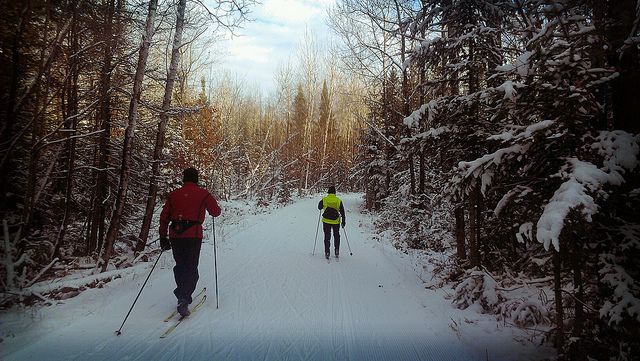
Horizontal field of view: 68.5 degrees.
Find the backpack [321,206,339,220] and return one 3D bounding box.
[{"bbox_3d":[0.458,1.306,18.708,0.678,0.827,0.434,4,-37,3],"label":"backpack"}]

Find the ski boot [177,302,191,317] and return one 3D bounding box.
[{"bbox_3d":[-4.291,4.029,14.747,0.463,0.464,0.149,-2,0,-18],"label":"ski boot"}]

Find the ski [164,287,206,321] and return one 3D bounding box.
[{"bbox_3d":[-4.308,3.956,14.952,1.721,0.147,0.179,-35,33,-33],"label":"ski"}]

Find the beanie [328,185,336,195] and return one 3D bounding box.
[{"bbox_3d":[0.476,0.378,18.831,0.253,0.304,0.322,0,-3,-7],"label":"beanie"}]

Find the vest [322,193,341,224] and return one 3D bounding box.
[{"bbox_3d":[0.460,1.107,18.711,0.721,1.214,0.485,0,-3,3],"label":"vest"}]
